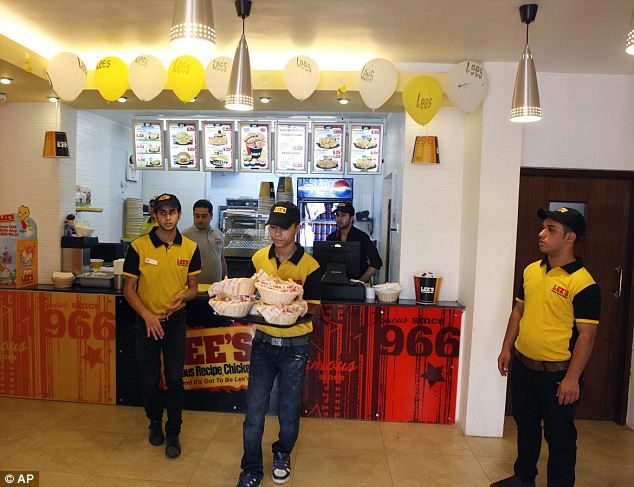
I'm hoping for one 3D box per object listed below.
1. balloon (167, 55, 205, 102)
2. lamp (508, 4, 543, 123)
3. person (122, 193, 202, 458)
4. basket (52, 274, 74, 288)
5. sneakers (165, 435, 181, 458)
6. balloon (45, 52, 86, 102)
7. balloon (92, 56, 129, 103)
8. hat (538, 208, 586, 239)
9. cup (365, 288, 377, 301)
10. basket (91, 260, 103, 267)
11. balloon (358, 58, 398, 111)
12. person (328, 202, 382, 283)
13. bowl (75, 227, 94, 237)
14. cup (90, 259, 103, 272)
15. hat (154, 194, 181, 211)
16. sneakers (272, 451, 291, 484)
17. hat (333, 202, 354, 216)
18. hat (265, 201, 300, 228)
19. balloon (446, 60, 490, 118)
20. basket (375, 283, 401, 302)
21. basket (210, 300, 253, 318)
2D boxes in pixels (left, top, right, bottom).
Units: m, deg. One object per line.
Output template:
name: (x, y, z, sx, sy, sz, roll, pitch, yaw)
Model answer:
balloon: (-1.214, -1.525, 4.852, 0.379, 0.462, 0.382, -1, 8, -8)
lamp: (1.673, -1.409, 4.121, 0.202, 0.920, 0.555, 3, 4, 21)
person: (-1.375, 0.683, 4.565, 0.548, 2.222, 0.414, 3, 4, 11)
basket: (-2.603, 0.381, 5.363, 0.165, 0.113, 0.158, -4, -5, 44)
sneakers: (-1.224, 1.734, 4.446, 0.128, 0.159, 0.105, 1, 4, -13)
balloon: (-2.235, -1.543, 4.871, 0.352, 0.423, 0.415, -2, 9, -11)
balloon: (-1.913, -1.532, 4.872, 0.341, 0.421, 0.347, 6, 5, 24)
hat: (1.880, -0.153, 3.978, 0.323, 0.238, 0.280, -2, 6, -45)
cup: (0.530, 0.507, 5.224, 0.109, 0.106, 0.107, 1, 2, 0)
basket: (-2.432, 0.218, 5.771, 0.085, 0.076, 0.086, 1, -2, 36)
balloon: (0.563, -1.498, 4.840, 0.338, 0.419, 0.201, 3, 4, 18)
person: (0.440, -0.006, 5.901, 0.473, 0.897, 0.691, 0, 5, -28)
bowl: (-2.535, -0.137, 5.732, 0.144, 0.094, 0.222, 5, 5, 37)
cup: (-2.424, 0.240, 5.802, 0.150, 0.145, 0.154, 2, -2, 0)
hat: (-1.286, -0.356, 4.494, 0.209, 0.137, 0.195, 0, 5, -21)
sneakers: (-0.285, 1.801, 4.150, 0.113, 0.115, 0.265, 1, -4, 1)
hat: (0.308, -0.390, 5.879, 0.201, 0.138, 0.173, 2, 4, -5)
hat: (-0.275, -0.227, 4.002, 0.162, 0.141, 0.240, 10, 10, 19)
balloon: (1.385, -1.421, 4.812, 0.381, 0.462, 0.137, 0, 11, 4)
basket: (0.703, 0.490, 5.147, 0.189, 0.109, 0.193, 0, 0, 5)
basket: (-0.641, 0.483, 3.897, 0.175, 0.076, 0.182, -5, -5, 28)
